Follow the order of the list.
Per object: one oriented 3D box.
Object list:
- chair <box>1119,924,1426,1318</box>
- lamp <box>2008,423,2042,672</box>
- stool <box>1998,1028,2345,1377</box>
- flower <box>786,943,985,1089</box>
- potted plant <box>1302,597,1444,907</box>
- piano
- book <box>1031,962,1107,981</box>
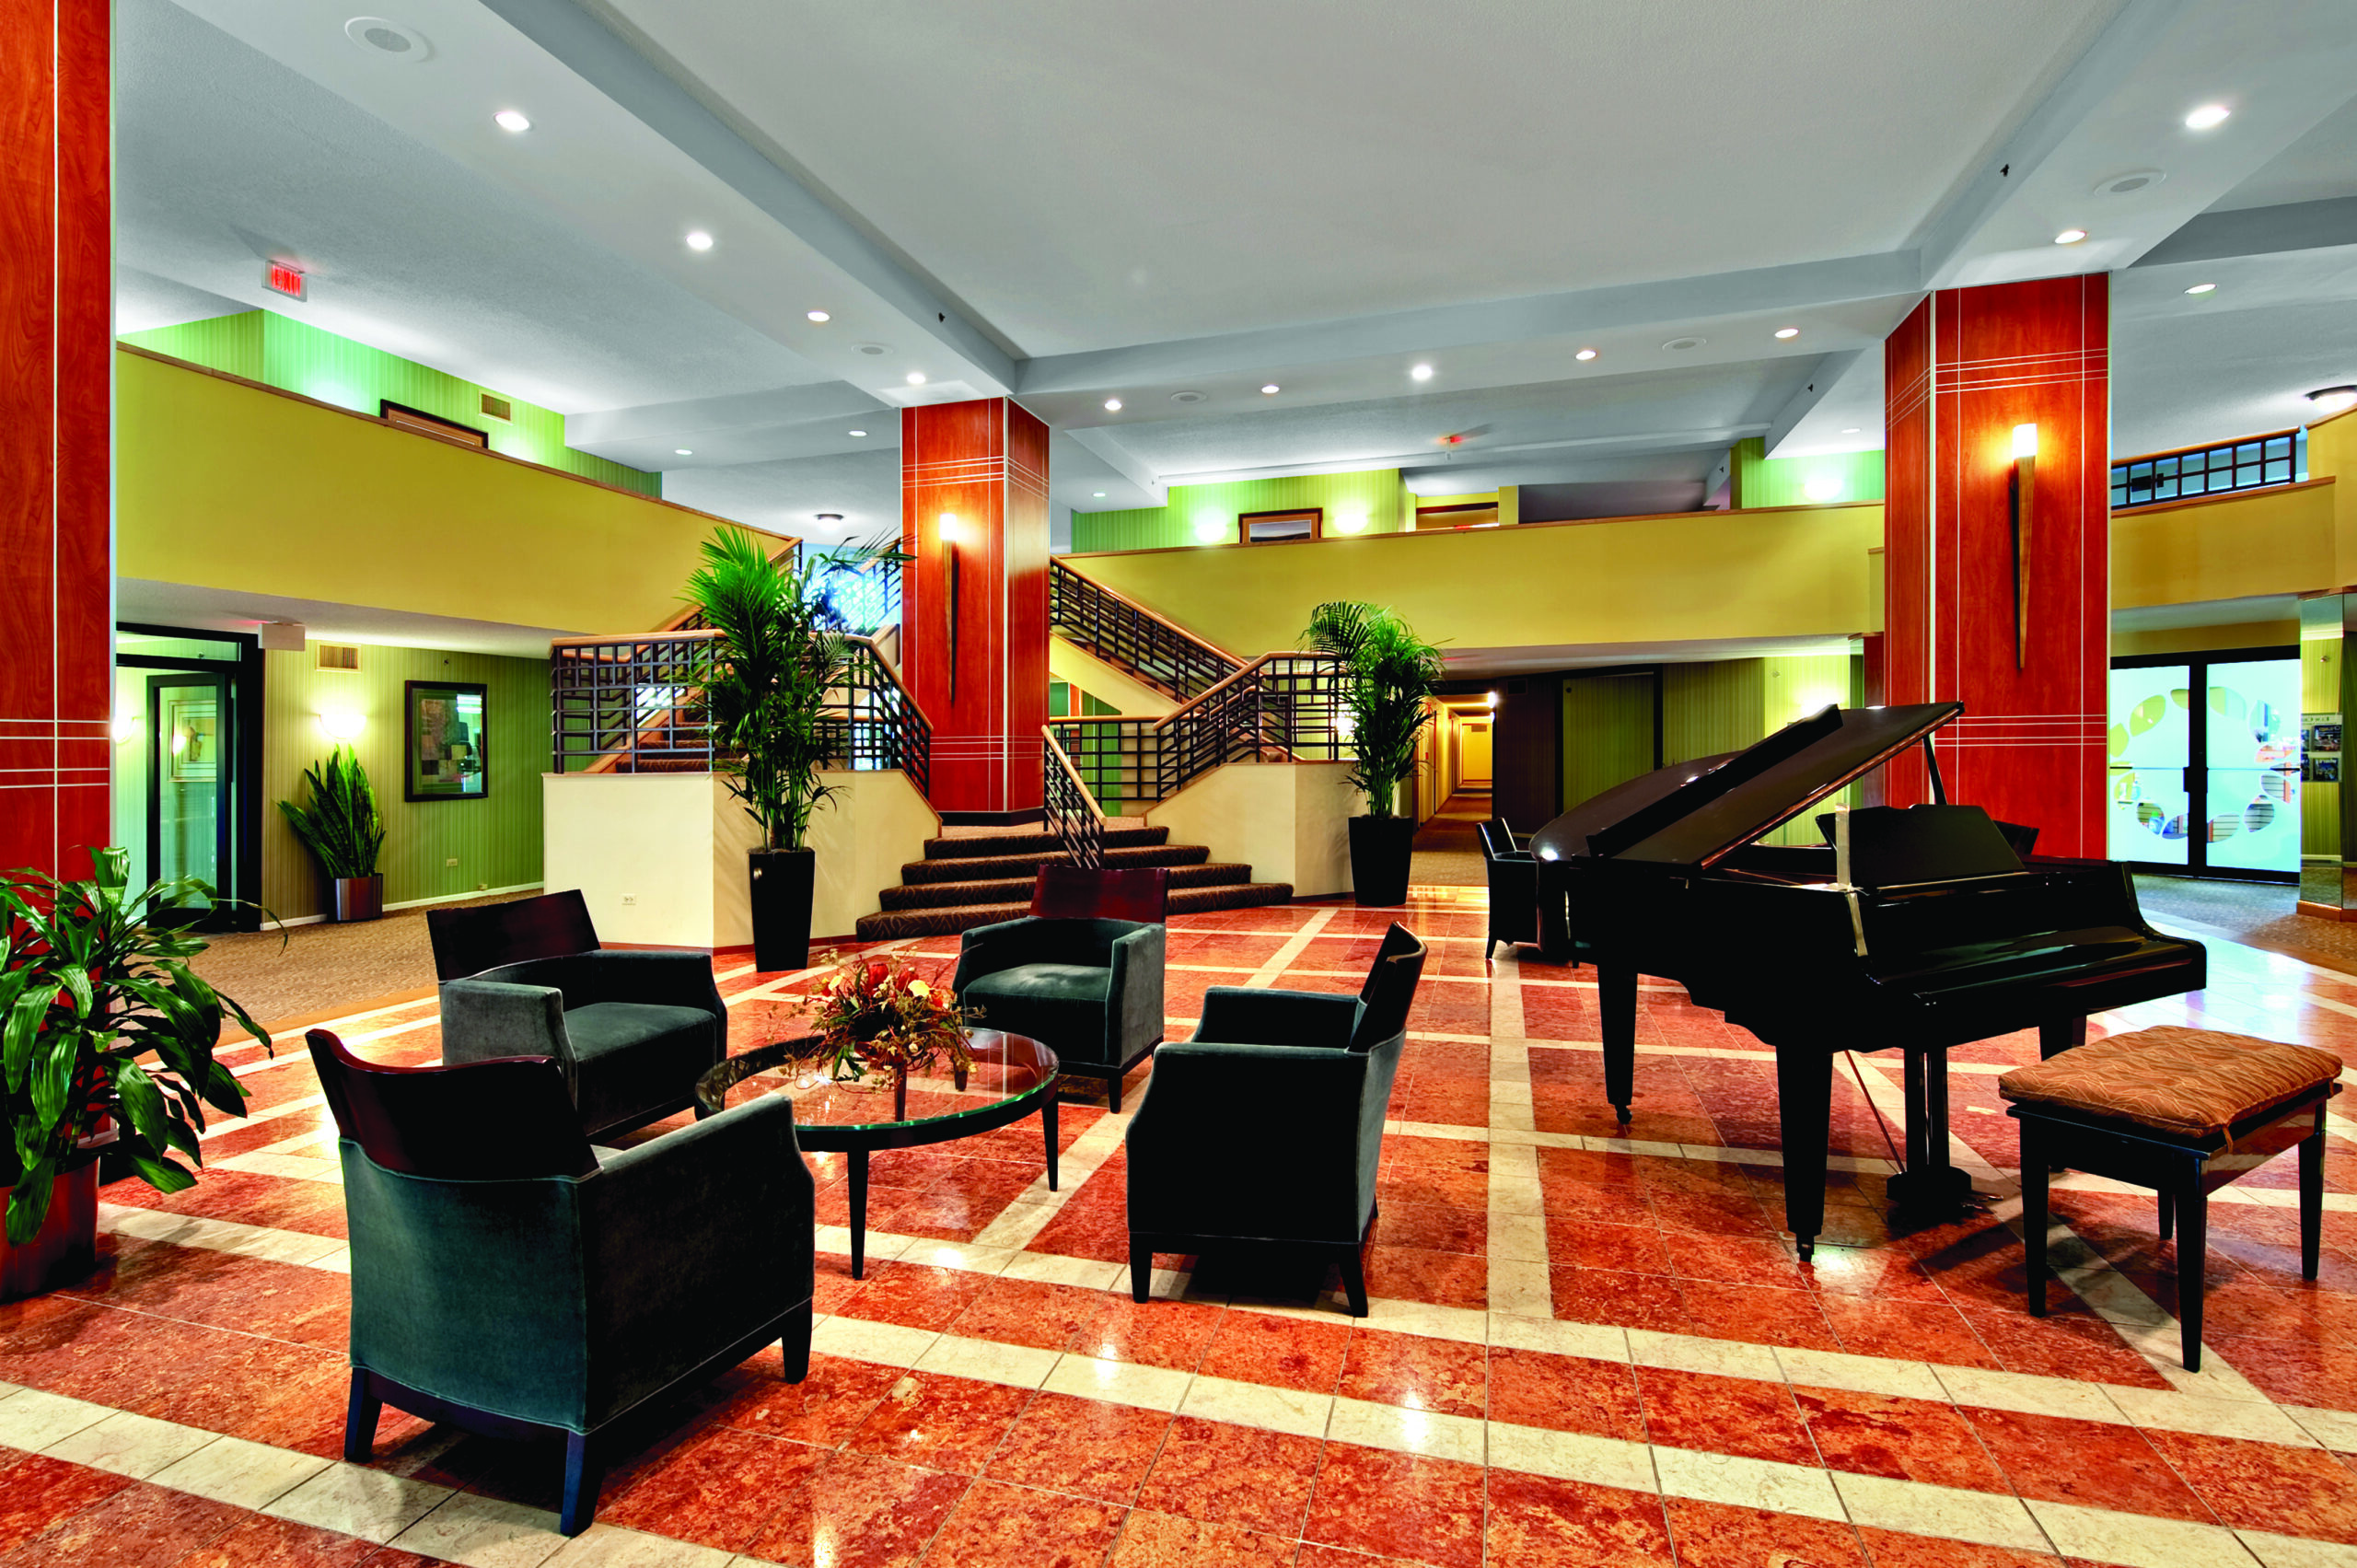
[{"bbox_3d":[0.451,1.373,6.854,1.631,1.823,1.299,1,1,9],"label":"chair"},{"bbox_3d":[5.995,-1.644,10.396,0.247,1.685,0.149,-8,5,-35],"label":"lamp"},{"bbox_3d":[4.072,1.526,6.529,1.487,1.273,1.258,-7,4,-24],"label":"stool"},{"bbox_3d":[-1.303,1.058,6.561,0.562,0.311,0.601,9,3,-38],"label":"flower"},{"bbox_3d":[1.851,-0.293,13.586,1.004,2.764,1.182,-4,4,6],"label":"potted plant"},{"bbox_3d":[3.168,0.910,7.641,2.403,2.715,2.852,0,-3,-24],"label":"piano"},{"bbox_3d":[-0.601,1.023,7.912,0.381,0.048,0.430,-6,4,-14],"label":"book"}]
